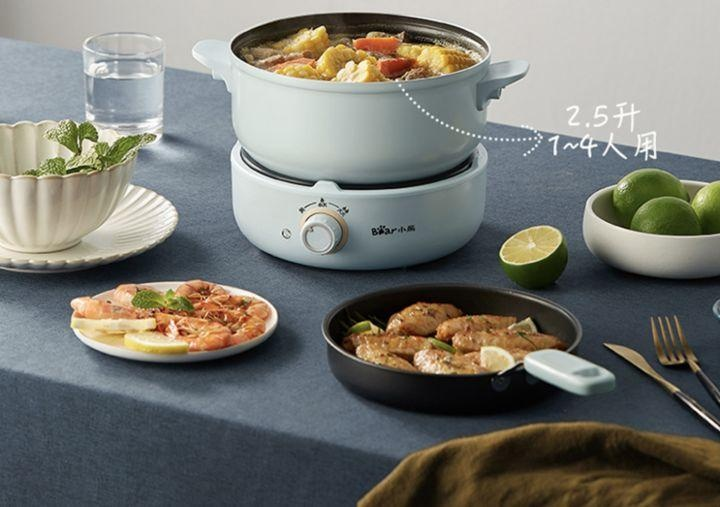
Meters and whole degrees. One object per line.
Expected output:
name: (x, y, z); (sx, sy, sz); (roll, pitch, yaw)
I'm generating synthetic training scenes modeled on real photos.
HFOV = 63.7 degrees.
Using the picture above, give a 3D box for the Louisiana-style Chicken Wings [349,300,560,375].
Louisiana-style Chicken Wings: (0.099, 0.085, 0.625); (0.154, 0.022, 0.089); (1, 12, 10)

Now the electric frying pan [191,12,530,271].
electric frying pan: (-0.002, -0.158, 0.920); (0.548, 0.253, 0.384); (5, 23, 11)

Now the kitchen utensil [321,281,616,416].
kitchen utensil: (0.099, 0.092, 0.633); (0.250, 0.063, 0.199); (13, 34, 21)

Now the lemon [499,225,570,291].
lemon: (0.249, 0.005, 0.808); (0.086, 0.056, 0.084); (-39, 32, -9)
